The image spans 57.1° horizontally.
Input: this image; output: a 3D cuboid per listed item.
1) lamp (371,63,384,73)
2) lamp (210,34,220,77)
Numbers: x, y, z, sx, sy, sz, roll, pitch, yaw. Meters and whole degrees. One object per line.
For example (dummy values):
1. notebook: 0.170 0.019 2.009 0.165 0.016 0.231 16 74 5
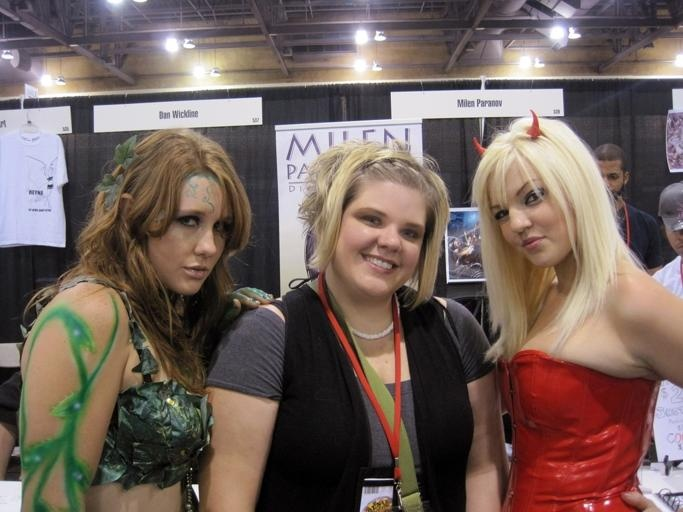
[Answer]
1. lamp: 0.561 -2.968 9.839 0.158 0.115 0.164 2 -7 -18
2. lamp: -2.013 -3.084 10.069 0.153 0.500 0.705 -2 -1 -10
